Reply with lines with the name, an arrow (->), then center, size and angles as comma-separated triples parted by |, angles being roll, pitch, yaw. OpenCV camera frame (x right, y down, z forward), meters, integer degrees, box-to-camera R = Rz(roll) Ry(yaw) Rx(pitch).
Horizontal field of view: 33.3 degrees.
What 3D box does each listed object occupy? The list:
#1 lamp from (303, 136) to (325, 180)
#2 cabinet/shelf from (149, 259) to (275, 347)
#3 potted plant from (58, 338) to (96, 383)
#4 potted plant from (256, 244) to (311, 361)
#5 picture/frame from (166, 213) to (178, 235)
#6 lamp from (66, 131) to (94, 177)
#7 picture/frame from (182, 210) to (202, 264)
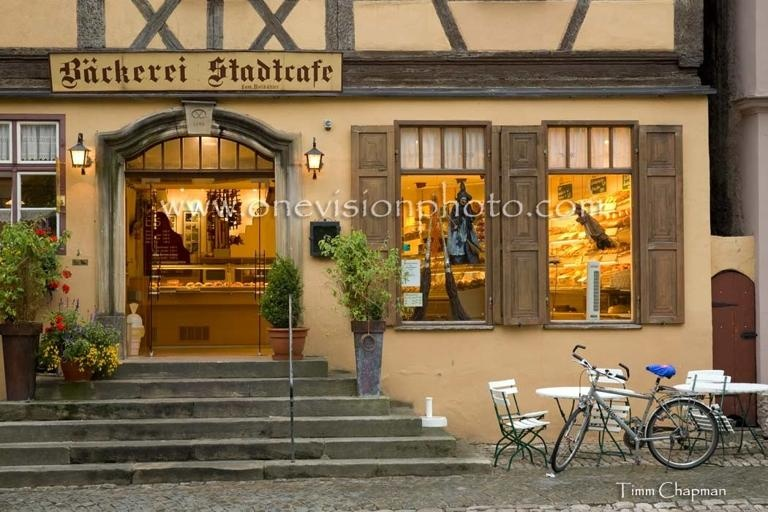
lamp -> -1.030, -1.455, 19.211 | 0.304, 0.453, 0.242 | -2, 1, -4
cabinet/shelf -> -3.016, 0.871, 21.855 | 2.378, 1.452, 1.441 | 0, -5, -5
potted plant -> -4.439, 1.488, 18.428 | 0.591, 0.566, 0.587 | 1, -5, -4
potted plant -> -1.479, 0.752, 18.729 | 0.658, 1.129, 1.028 | -1, 1, 6
picture/frame -> -3.558, -0.549, 21.510 | 0.029, 0.388, 0.377 | -5, -1, 26
lamp -> -4.474, -1.510, 19.050 | 0.344, 0.510, 0.273 | -2, 1, -13
picture/frame -> -3.233, -0.317, 21.769 | 0.323, 0.682, 0.088 | -2, 1, -9
